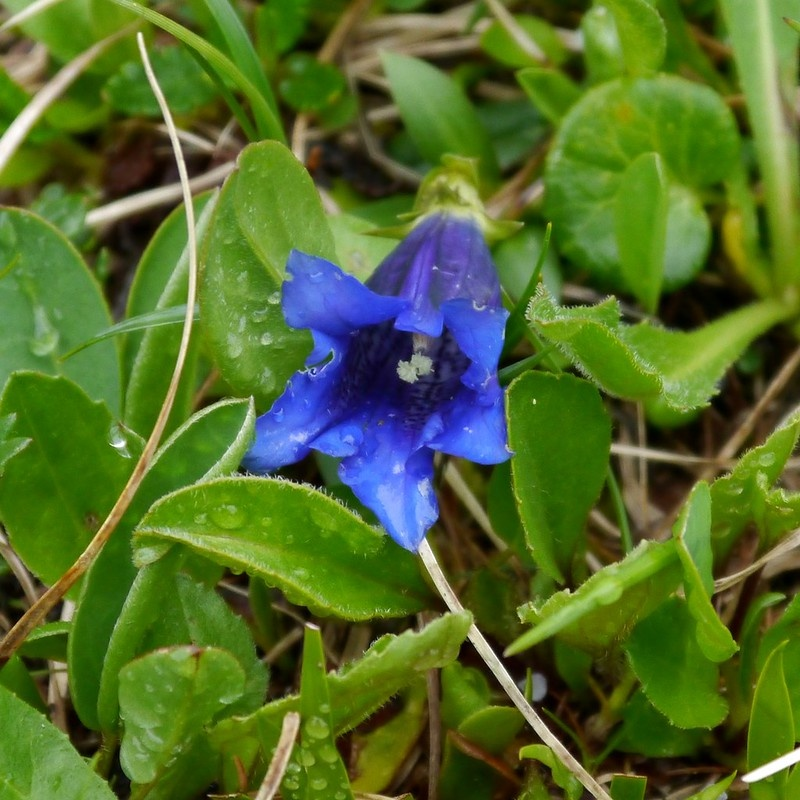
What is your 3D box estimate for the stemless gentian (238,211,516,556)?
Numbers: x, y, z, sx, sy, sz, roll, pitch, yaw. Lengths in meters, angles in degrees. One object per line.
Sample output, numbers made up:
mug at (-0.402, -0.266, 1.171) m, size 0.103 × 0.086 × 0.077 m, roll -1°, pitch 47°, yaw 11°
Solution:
stemless gentian at (-0.010, -0.045, 1.074) m, size 0.164 × 0.321 × 0.442 m, roll 17°, pitch 22°, yaw -14°
